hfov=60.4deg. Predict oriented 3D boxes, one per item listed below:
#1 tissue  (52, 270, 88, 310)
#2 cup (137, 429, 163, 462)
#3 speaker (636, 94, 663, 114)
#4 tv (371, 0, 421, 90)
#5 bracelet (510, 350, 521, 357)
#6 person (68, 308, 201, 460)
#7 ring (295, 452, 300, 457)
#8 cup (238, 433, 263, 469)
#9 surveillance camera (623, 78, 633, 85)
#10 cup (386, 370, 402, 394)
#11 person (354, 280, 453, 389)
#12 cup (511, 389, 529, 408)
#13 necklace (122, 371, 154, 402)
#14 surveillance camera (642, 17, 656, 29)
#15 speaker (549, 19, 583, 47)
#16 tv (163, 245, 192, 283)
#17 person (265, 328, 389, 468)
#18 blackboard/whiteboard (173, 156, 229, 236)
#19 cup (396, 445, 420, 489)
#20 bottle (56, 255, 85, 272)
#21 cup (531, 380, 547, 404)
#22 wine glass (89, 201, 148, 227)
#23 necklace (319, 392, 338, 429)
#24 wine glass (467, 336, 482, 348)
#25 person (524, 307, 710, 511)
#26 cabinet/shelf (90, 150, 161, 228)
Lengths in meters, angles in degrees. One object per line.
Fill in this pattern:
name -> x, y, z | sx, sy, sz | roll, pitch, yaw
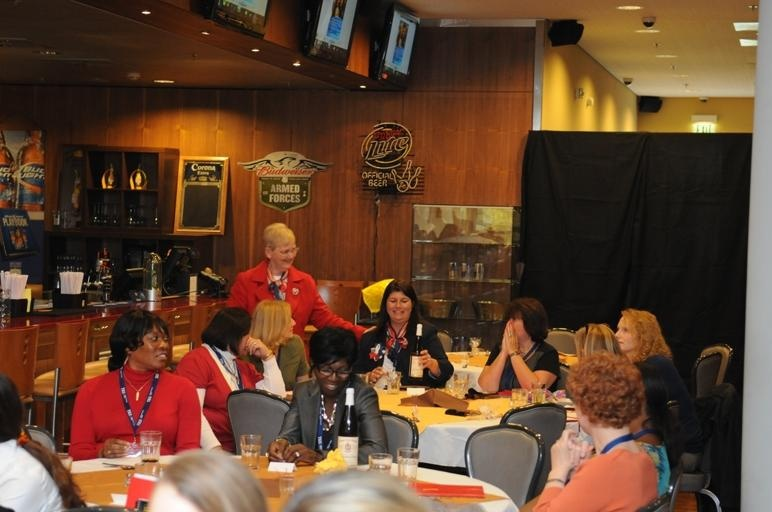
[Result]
tissue  -> -2.929, 0.352, 6.279 | 0.270, 0.372, 0.232 | -3, -13, 25
cup -> -1.196, 0.951, 3.324 | 0.131, 0.143, 0.132 | 7, -16, 2
speaker -> 4.816, -2.776, 12.136 | 0.402, 0.303, 0.275 | 0, 4, 2
tv -> 0.091, -2.347, 7.270 | 0.214, 0.982, 0.740 | 11, 0, 35
bracelet -> 0.997, 0.751, 5.135 | 0.047, 0.035, 0.053 | -13, -13, 17
person -> -1.458, 0.810, 3.901 | 0.726, 0.921, 0.605 | 2, 0, -15
ring -> -0.469, 1.059, 3.553 | 0.015, 0.026, 0.009 | 9, 4, 24
cup -> -0.681, 1.018, 3.474 | 0.136, 0.165, 0.138 | -2, -12, -1
surveillance camera -> 3.902, -2.831, 10.735 | 0.090, 0.070, 0.096 | -1, -3, 7
cup -> 0.068, 0.982, 5.128 | 0.125, 0.144, 0.124 | 0, -4, 0
person -> 0.132, 0.675, 5.705 | 0.824, 1.514, 0.837 | -1, -6, 0
cup -> 0.937, 0.995, 4.654 | 0.131, 0.150, 0.134 | 0, 1, 0
necklace -> -1.487, 0.753, 3.900 | 0.141, 0.195, 0.047 | 0, 1, -5
surveillance camera -> 2.910, -2.602, 7.383 | 0.111, 0.093, 0.124 | 0, 0, -7
speaker -> 2.041, -2.558, 7.580 | 0.382, 0.272, 0.285 | 2, 3, 21
tv -> -2.443, 0.097, 7.824 | 0.315, 0.419, 0.700 | -1, 3, -19
person -> -0.338, 0.875, 3.762 | 0.627, 0.851, 0.568 | 2, 16, -8
blackboard/whiteboard -> -2.292, -0.757, 8.353 | 0.951, 1.325, 0.132 | 2, -3, 13
cup -> 0.104, 1.019, 3.204 | 0.123, 0.168, 0.121 | 1, -11, 0
bottle -> -4.114, 0.096, 8.686 | 0.304, 0.194, 0.477 | -1, 3, -28
cup -> 1.082, 0.979, 4.809 | 0.132, 0.173, 0.131 | 0, 2, 0
wine glass -> -3.383, -0.519, 8.492 | 0.948, 0.280, 0.353 | 2, -1, -1
necklace -> -0.337, 0.891, 3.756 | 0.103, 0.149, 0.034 | -3, 0, 10
wine glass -> 0.914, 0.880, 6.733 | 0.157, 0.130, 0.168 | 0, -5, -4
person -> 2.023, 1.009, 5.052 | 1.116, 1.610, 1.286 | -5, -9, 37
cabinet/shelf -> -3.292, -0.839, 8.503 | 0.950, 1.052, 0.317 | 0, -6, 3
